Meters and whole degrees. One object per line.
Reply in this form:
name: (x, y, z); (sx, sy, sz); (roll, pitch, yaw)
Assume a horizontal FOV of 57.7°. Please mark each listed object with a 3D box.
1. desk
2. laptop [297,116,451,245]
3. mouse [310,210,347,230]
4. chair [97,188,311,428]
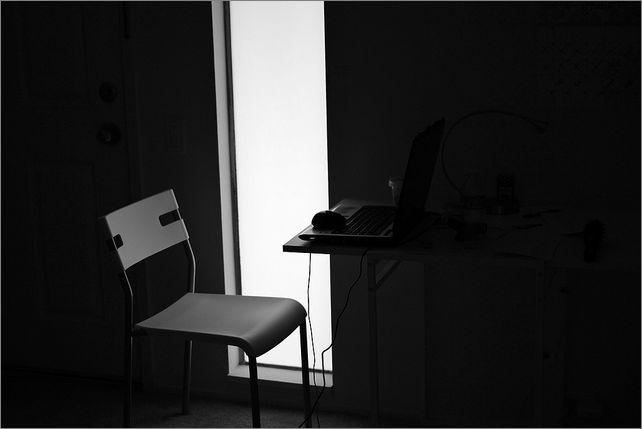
desk: (0.161, 0.441, 2.634); (0.487, 0.684, 0.959); (1, 14, 14)
laptop: (0.216, -0.156, 2.355); (0.489, 0.491, 0.498); (5, 10, 15)
mouse: (0.029, 0.022, 2.264); (0.085, 0.028, 0.092); (-2, 18, -12)
chair: (-0.458, 0.436, 2.417); (0.766, 0.991, 0.478); (7, 11, 26)
